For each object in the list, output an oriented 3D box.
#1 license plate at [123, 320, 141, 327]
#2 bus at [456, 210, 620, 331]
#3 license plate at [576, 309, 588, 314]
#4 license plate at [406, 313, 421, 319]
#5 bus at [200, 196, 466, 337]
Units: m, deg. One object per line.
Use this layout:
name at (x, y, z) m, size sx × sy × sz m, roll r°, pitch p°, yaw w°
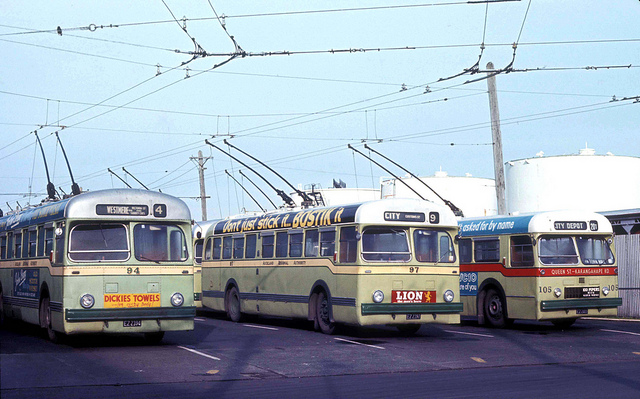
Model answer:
license plate at (-4.994, 3.254, 18.707) m, size 0.450 × 0.141 × 0.052 m, roll 2°, pitch -7°, yaw -30°
bus at (6.698, 2.671, 28.090) m, size 3.493 × 3.821 × 10.103 m, roll 1°, pitch -5°, yaw -20°
license plate at (8.609, 3.683, 23.456) m, size 0.431 × 0.159 × 0.088 m, roll 0°, pitch -6°, yaw -16°
license plate at (2.729, 3.430, 21.012) m, size 0.458 × 0.182 × 0.041 m, roll 0°, pitch -6°, yaw -15°
bus at (-0.267, 2.433, 25.983) m, size 3.798 × 4.047 × 11.673 m, roll 4°, pitch -7°, yaw -32°
